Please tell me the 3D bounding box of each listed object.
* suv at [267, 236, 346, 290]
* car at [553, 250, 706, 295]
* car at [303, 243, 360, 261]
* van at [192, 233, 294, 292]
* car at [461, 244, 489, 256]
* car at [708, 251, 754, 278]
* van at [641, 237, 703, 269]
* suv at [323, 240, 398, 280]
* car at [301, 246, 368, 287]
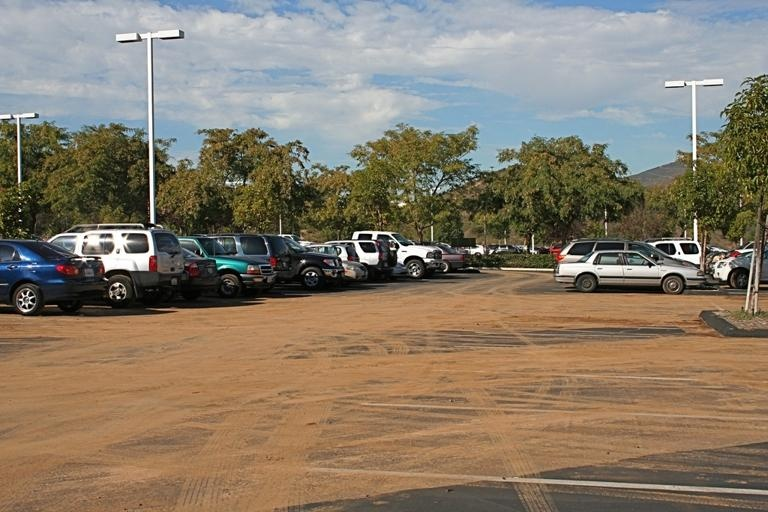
[{"bbox_3d":[-3.094,0.359,25.633,3.463,1.224,1.590,-1,1,8],"label":"suv"},{"bbox_3d":[9.397,0.593,25.058,5.509,1.273,1.859,0,2,7],"label":"car"},{"bbox_3d":[-2.354,-0.268,28.818,1.860,0.749,1.008,3,3,19],"label":"car"},{"bbox_3d":[-5.495,0.057,23.276,3.466,1.185,1.620,-1,2,18],"label":"van"},{"bbox_3d":[10.354,-0.800,74.028,4.260,1.406,2.287,3,0,4],"label":"car"},{"bbox_3d":[14.544,0.344,26.294,2.240,0.911,1.074,1,-3,2],"label":"car"},{"bbox_3d":[14.671,-0.321,32.263,3.228,1.393,1.702,5,4,10],"label":"van"},{"bbox_3d":[-1.346,0.036,31.314,3.485,1.209,1.510,1,1,12],"label":"suv"},{"bbox_3d":[-2.318,0.216,28.373,2.824,1.087,1.491,2,3,16],"label":"car"}]
